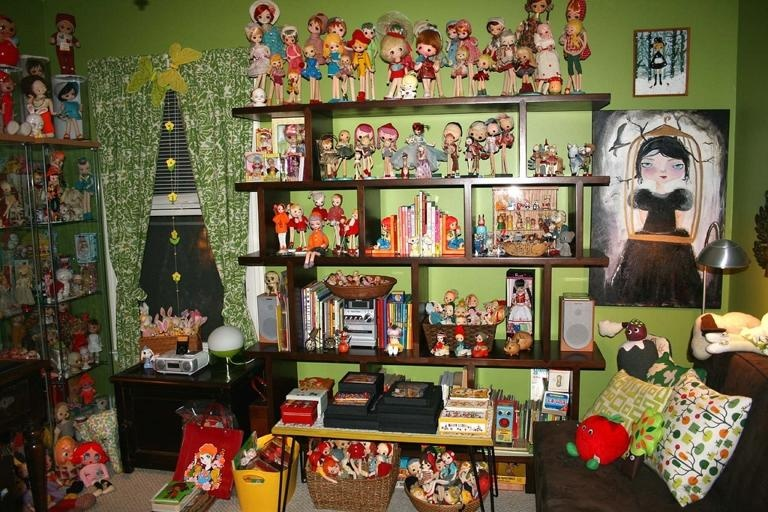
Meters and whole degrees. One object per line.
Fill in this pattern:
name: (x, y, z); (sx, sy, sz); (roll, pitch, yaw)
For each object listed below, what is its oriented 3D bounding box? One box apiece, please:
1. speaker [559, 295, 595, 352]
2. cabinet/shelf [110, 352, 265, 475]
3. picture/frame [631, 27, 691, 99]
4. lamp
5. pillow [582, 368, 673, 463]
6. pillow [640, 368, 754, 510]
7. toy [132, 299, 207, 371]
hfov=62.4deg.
speaker: (1.373, 0.474, 4.513); (0.245, 0.362, 0.271); (2, 7, 26)
cabinet/shelf: (-1.534, 1.278, 4.927); (0.860, 0.651, 0.571); (-1, 0, 2)
picture/frame: (1.952, -1.380, 4.435); (0.501, 0.611, 0.040); (0, 5, 3)
lamp: (2.270, 0.114, 4.261); (0.298, 0.644, 0.630); (4, 10, 28)
pillow: (1.575, 0.957, 4.025); (0.108, 0.343, 0.352); (39, -9, -20)
pillow: (1.793, 1.071, 3.604); (0.345, 0.593, 0.509); (15, 17, -43)
toy: (-1.683, 0.636, 4.989); (0.500, 0.539, 0.205); (0, -12, -4)
